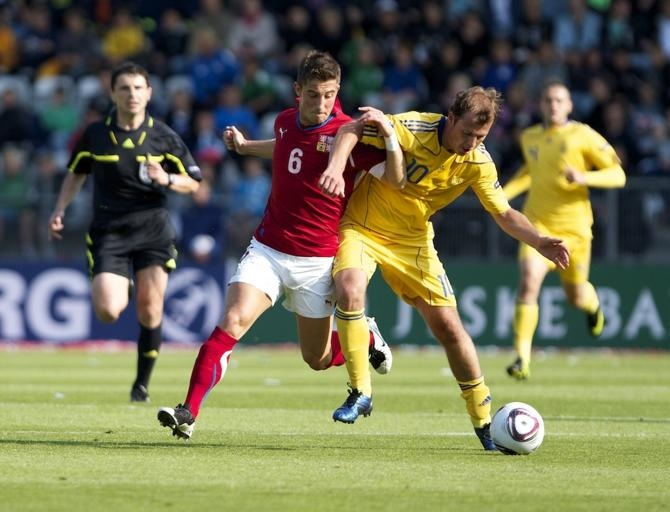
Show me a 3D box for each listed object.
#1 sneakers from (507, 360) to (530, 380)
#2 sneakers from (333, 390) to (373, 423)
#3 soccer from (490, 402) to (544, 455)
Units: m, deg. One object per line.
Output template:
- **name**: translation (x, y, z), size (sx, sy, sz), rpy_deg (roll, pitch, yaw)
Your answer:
- **sneakers**: translation (2.048, 1.271, 11.611), size (0.149, 0.205, 0.414), rpy_deg (-4, -16, 15)
- **sneakers**: translation (0.133, 1.222, 8.455), size (0.162, 0.273, 0.466), rpy_deg (4, 4, 29)
- **soccer**: translation (1.422, 1.357, 8.236), size (0.410, 0.418, 0.398), rpy_deg (4, -40, 4)
